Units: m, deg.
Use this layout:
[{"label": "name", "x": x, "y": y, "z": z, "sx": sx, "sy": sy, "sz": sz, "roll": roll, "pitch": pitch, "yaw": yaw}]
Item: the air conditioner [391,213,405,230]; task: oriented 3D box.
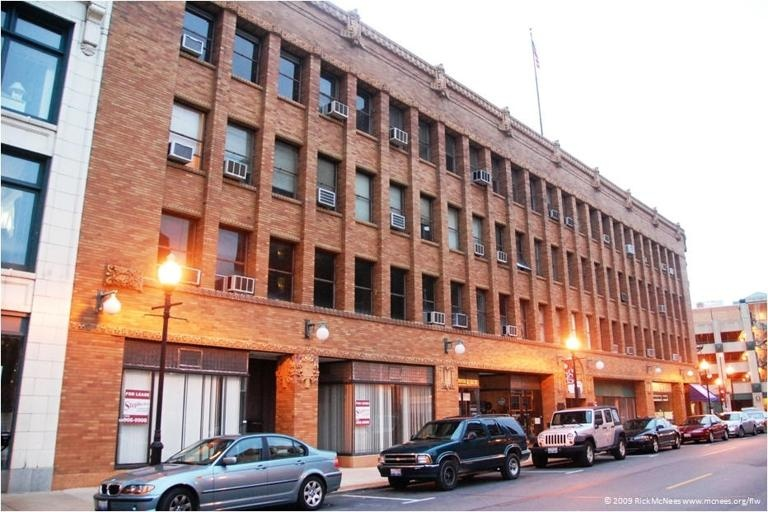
[{"label": "air conditioner", "x": 0.697, "y": -1.812, "z": 27.949, "sx": 0.285, "sy": 0.672, "sz": 0.823, "roll": -17, "pitch": -22, "yaw": 38}]

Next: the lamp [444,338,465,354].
[{"label": "lamp", "x": 3.913, "y": 4.762, "z": 28.855, "sx": 0.766, "sy": 0.825, "sz": 1.462, "roll": -20, "pitch": -25, "yaw": 38}]

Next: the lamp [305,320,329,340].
[{"label": "lamp", "x": -2.664, "y": 3.164, "z": 23.291, "sx": 1.235, "sy": 0.957, "sz": 0.626, "roll": -10, "pitch": -19, "yaw": 33}]

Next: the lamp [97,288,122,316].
[{"label": "lamp", "x": -9.496, "y": 1.524, "z": 18.548, "sx": 0.686, "sy": 0.864, "sz": 0.845, "roll": 9, "pitch": -23, "yaw": -29}]

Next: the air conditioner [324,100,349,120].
[{"label": "air conditioner", "x": -2.344, "y": -7.106, "z": 26.495, "sx": 0.969, "sy": 0.597, "sz": 0.948, "roll": 8, "pitch": -11, "yaw": -37}]

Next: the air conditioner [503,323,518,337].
[{"label": "air conditioner", "x": 7.682, "y": 4.556, "z": 33.015, "sx": 1.248, "sy": 0.797, "sz": 0.665, "roll": 8, "pitch": -12, "yaw": -41}]

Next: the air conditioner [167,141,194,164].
[{"label": "air conditioner", "x": -8.136, "y": -4.127, "z": 21.359, "sx": 0.509, "sy": 0.652, "sz": 0.986, "roll": -15, "pitch": -22, "yaw": 33}]

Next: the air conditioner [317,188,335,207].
[{"label": "air conditioner", "x": -2.744, "y": -2.726, "z": 25.127, "sx": 0.289, "sy": 0.691, "sz": 0.887, "roll": -20, "pitch": -28, "yaw": 36}]

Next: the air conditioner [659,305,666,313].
[{"label": "air conditioner", "x": 25.998, "y": 4.885, "z": 50.341, "sx": 0.381, "sy": 0.474, "sz": 0.707, "roll": -8, "pitch": -10, "yaw": 38}]

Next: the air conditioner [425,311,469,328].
[{"label": "air conditioner", "x": 3.473, "y": 3.341, "z": 29.146, "sx": 3.126, "sy": 0.860, "sz": 0.558, "roll": 13, "pitch": -25, "yaw": -37}]

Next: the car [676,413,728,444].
[{"label": "car", "x": 21.364, "y": 11.537, "z": 36.211, "sx": 2.176, "sy": 1.766, "sz": 4.016, "roll": -17, "pitch": -24, "yaw": 35}]

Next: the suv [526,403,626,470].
[{"label": "suv", "x": 9.450, "y": 8.564, "z": 25.803, "sx": 5.368, "sy": 2.589, "sz": 2.423, "roll": 11, "pitch": -24, "yaw": -33}]

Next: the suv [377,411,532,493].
[{"label": "suv", "x": 2.798, "y": 7.345, "z": 20.369, "sx": 2.702, "sy": 1.912, "sz": 5.151, "roll": -19, "pitch": -27, "yaw": 41}]

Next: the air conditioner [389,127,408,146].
[{"label": "air conditioner", "x": 0.768, "y": -6.427, "z": 28.865, "sx": 0.568, "sy": 0.775, "sz": 1.084, "roll": -21, "pitch": -26, "yaw": 40}]
